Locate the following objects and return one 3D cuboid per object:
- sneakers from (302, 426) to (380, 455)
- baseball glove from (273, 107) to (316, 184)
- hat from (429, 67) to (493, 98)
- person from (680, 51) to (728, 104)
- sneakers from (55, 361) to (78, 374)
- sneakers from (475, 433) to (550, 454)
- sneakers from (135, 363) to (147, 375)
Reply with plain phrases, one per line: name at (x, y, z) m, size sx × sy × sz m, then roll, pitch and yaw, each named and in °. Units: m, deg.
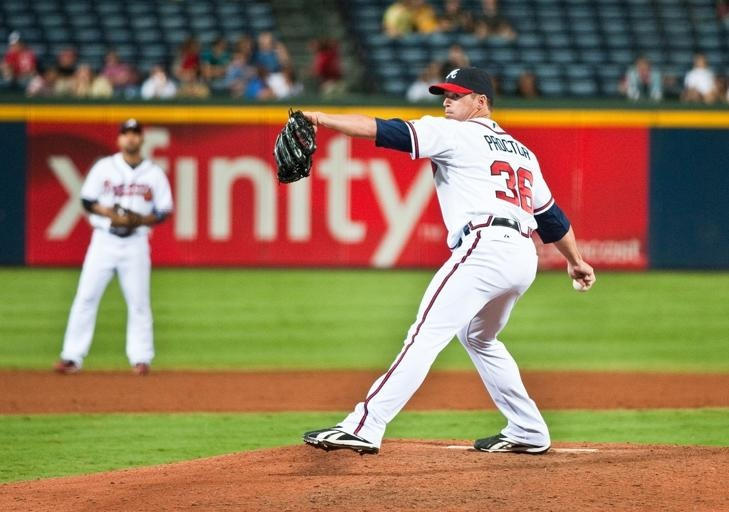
sneakers at (-0.232, 1.543, 11.105) m, size 0.674 × 0.226 × 0.211 m, roll 11°, pitch -29°, yaw -7°
baseball glove at (-0.599, -0.917, 11.074) m, size 0.477 × 0.546 × 0.197 m, roll -1°, pitch -4°, yaw 22°
hat at (0.862, -1.511, 11.341) m, size 0.479 × 0.177 × 0.289 m, roll 0°, pitch 3°, yaw -6°
person at (4.224, -2.201, 16.236) m, size 0.501 × 0.681 × 1.764 m, roll -2°, pitch 4°, yaw 16°
sneakers at (-2.993, 1.098, 13.025) m, size 0.247 × 0.087 × 0.139 m, roll 12°, pitch 6°, yaw 17°
sneakers at (1.326, 1.627, 11.630) m, size 0.686 × 0.202 × 0.217 m, roll 3°, pitch -1°, yaw 4°
sneakers at (-2.237, 1.122, 13.026) m, size 0.123 × 0.089 × 0.141 m, roll 5°, pitch -1°, yaw -34°
